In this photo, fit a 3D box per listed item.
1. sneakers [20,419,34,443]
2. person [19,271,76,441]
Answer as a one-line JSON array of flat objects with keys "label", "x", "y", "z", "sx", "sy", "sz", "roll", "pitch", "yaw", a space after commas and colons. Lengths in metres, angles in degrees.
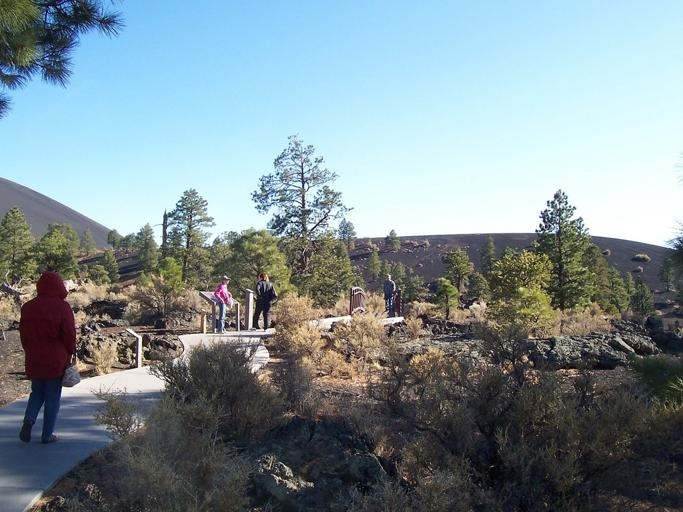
[{"label": "sneakers", "x": -4.817, "y": 2.642, "z": 9.051, "sx": 0.242, "sy": 0.378, "sz": 0.115, "roll": 3, "pitch": 2, "yaw": 7}, {"label": "person", "x": -4.550, "y": 1.544, "z": 9.204, "sx": 0.818, "sy": 2.581, "sz": 0.489, "roll": 2, "pitch": 2, "yaw": -12}]
